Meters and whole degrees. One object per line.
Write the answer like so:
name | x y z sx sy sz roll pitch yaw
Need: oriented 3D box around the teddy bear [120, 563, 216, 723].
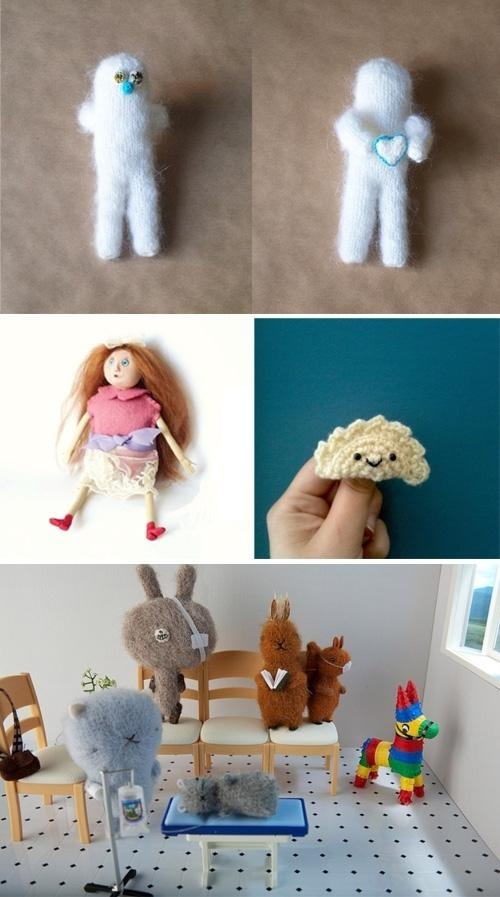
teddy bear | -0.242 0.588 2.327 0.272 0.503 0.236 -1 7 -16

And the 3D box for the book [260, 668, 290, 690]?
book | 0.072 0.680 2.312 0.069 0.067 0.027 -1 15 10

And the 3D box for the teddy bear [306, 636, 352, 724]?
teddy bear | 0.233 0.734 2.482 0.157 0.264 0.122 3 -3 17

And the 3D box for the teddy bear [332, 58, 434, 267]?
teddy bear | 0.326 -0.747 2.070 0.297 0.156 0.570 0 -25 10

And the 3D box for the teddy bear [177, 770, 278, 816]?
teddy bear | -0.051 0.870 2.011 0.203 0.110 0.091 2 37 5

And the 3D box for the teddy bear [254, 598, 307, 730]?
teddy bear | 0.099 0.652 2.374 0.156 0.391 0.142 -1 7 -15

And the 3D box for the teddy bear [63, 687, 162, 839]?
teddy bear | -0.343 0.792 2.002 0.233 0.355 0.251 -7 -2 29

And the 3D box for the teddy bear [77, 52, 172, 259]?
teddy bear | -0.307 -0.730 1.965 0.169 0.502 0.084 0 7 -2

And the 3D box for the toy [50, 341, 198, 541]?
toy | -0.310 -0.021 1.930 0.345 0.476 0.116 0 7 -5
